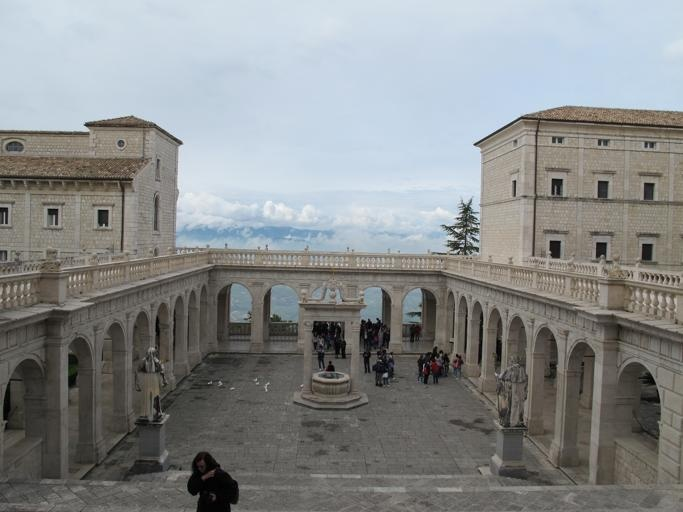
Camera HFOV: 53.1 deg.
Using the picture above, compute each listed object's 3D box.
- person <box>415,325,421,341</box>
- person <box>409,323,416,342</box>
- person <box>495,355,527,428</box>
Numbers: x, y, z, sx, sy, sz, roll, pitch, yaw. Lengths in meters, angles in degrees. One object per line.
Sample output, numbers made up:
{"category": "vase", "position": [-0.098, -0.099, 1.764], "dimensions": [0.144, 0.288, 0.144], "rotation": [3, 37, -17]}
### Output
{"category": "person", "position": [5.504, 5.383, 48.555], "dimensions": [0.265, 1.147, 1.595], "rotation": [3, 9, 13]}
{"category": "person", "position": [5.035, 5.449, 47.872], "dimensions": [0.356, 1.063, 0.951], "rotation": [3, 9, 8]}
{"category": "person", "position": [6.211, 4.916, 24.876], "dimensions": [1.013, 2.544, 0.741], "rotation": [3, 8, 10]}
